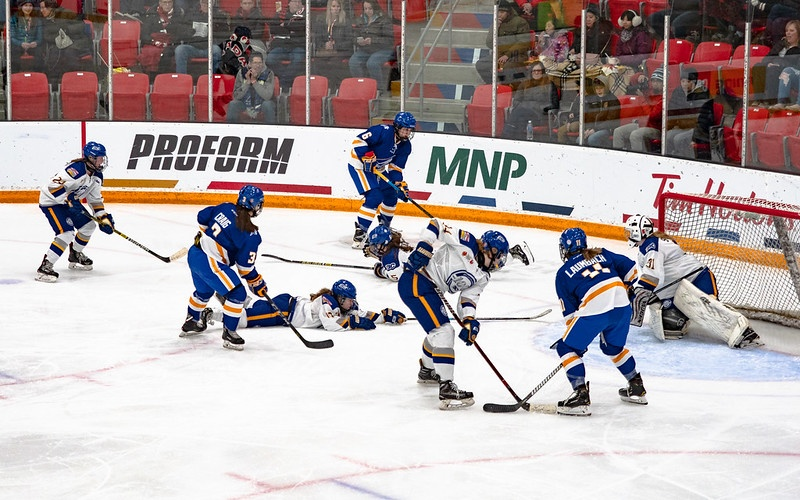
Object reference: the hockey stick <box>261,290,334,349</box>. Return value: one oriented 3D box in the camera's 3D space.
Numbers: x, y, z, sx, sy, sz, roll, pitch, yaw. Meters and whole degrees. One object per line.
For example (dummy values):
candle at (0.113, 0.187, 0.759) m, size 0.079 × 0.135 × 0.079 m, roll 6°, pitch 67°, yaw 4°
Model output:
hockey stick at (-1.142, 0.664, 9.347) m, size 0.266 × 0.201 × 1.728 m, roll -5°, pitch 21°, yaw -28°

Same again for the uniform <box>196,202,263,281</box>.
uniform at (-1.688, -0.067, 8.883) m, size 0.409 × 0.714 × 0.563 m, roll -31°, pitch -19°, yaw -35°

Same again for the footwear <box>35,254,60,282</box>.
footwear at (-4.140, 0.233, 10.621) m, size 0.232 × 0.300 × 0.154 m, roll 0°, pitch 6°, yaw -19°

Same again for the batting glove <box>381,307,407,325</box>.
batting glove at (-0.064, 0.706, 9.645) m, size 0.244 × 0.088 × 0.141 m, roll 9°, pitch 16°, yaw -26°

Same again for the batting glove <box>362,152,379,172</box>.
batting glove at (-0.386, -1.137, 11.851) m, size 0.207 × 0.265 × 0.093 m, roll -3°, pitch 8°, yaw -41°

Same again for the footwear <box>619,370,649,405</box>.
footwear at (2.036, 1.202, 7.950) m, size 0.281 × 0.254 × 0.093 m, roll -3°, pitch -1°, yaw 42°

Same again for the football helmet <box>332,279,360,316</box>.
football helmet at (-0.553, 0.494, 9.358) m, size 0.295 × 0.354 × 0.197 m, roll 0°, pitch 6°, yaw -16°

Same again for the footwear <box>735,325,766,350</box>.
footwear at (3.448, 0.880, 8.976) m, size 0.217 × 0.218 × 0.088 m, roll 4°, pitch 22°, yaw -10°

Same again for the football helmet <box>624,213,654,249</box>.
football helmet at (2.440, -0.218, 9.455) m, size 0.379 × 0.348 × 0.278 m, roll -13°, pitch 17°, yaw 18°

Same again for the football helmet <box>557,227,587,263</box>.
football helmet at (1.511, -0.044, 7.927) m, size 0.241 × 0.265 × 0.289 m, roll -5°, pitch -7°, yaw -32°

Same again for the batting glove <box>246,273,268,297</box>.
batting glove at (-1.439, 0.352, 9.077) m, size 0.200 × 0.225 × 0.100 m, roll -29°, pitch 15°, yaw -15°

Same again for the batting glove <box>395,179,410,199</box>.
batting glove at (0.028, -0.749, 11.839) m, size 0.212 × 0.228 × 0.095 m, roll 14°, pitch -37°, yaw -25°

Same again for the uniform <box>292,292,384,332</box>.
uniform at (-0.674, 0.660, 9.411) m, size 0.823 × 0.210 × 0.362 m, roll 8°, pitch 0°, yaw 20°

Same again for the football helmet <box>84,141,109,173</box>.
football helmet at (-3.669, -1.093, 10.865) m, size 0.246 × 0.344 × 0.472 m, roll 0°, pitch 6°, yaw -21°

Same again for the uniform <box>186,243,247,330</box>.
uniform at (-1.813, 0.371, 9.004) m, size 0.538 × 0.396 × 1.129 m, roll 20°, pitch -24°, yaw 5°

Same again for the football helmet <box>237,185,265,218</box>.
football helmet at (-1.476, -0.470, 8.920) m, size 0.243 × 0.271 × 0.304 m, roll 22°, pitch 11°, yaw 19°

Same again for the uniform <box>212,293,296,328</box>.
uniform at (-1.393, 0.660, 9.418) m, size 0.586 × 0.161 × 0.439 m, roll -5°, pitch 8°, yaw 5°

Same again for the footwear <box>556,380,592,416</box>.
footwear at (1.513, 1.267, 7.784) m, size 0.344 × 0.302 × 0.156 m, roll -7°, pitch -10°, yaw 34°

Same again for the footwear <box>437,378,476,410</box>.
footwear at (0.468, 1.257, 7.831) m, size 0.397 × 0.249 × 0.152 m, roll 0°, pitch 7°, yaw -3°

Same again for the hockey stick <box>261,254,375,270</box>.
hockey stick at (-1.065, 0.161, 11.380) m, size 1.295 × 0.122 × 0.128 m, roll 1°, pitch 44°, yaw 15°

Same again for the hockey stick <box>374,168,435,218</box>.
hockey stick at (0.059, -0.809, 12.566) m, size 1.212 × 0.147 × 0.145 m, roll 44°, pitch -8°, yaw 25°

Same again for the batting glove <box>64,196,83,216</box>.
batting glove at (-3.912, -0.524, 10.898) m, size 0.150 × 0.227 × 0.066 m, roll -12°, pitch 41°, yaw -12°

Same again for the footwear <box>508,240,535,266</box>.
footwear at (1.212, 0.037, 8.994) m, size 0.202 × 0.203 × 0.462 m, roll -19°, pitch -20°, yaw 12°
